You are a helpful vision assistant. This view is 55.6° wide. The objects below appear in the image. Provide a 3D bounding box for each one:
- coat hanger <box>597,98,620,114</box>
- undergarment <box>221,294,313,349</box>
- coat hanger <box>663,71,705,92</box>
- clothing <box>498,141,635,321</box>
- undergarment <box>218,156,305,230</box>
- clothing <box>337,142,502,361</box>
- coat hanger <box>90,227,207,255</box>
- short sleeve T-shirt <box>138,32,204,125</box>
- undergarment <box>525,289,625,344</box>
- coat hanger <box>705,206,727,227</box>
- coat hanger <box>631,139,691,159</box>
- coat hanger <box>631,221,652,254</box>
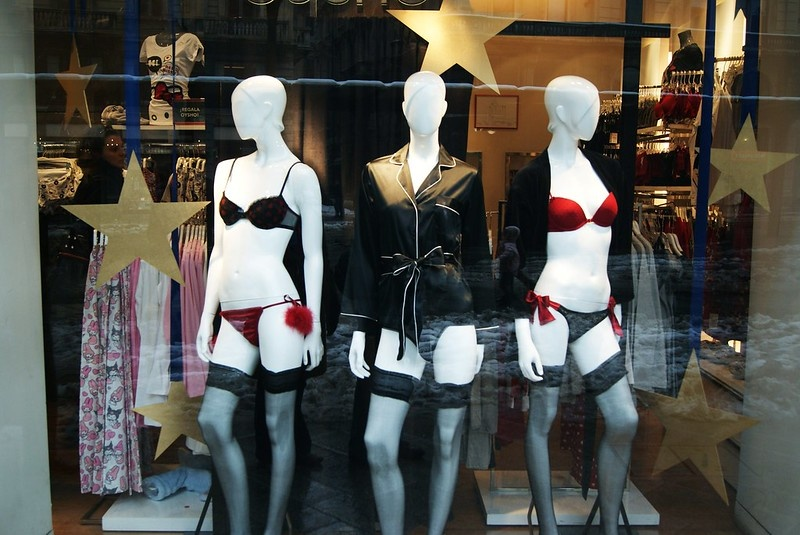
[{"bbox_3d":[1.066,-0.813,3.850,0.084,0.089,0.024,3,-5,-6],"label":"coat hanger"},{"bbox_3d":[-0.642,0.274,3.753,0.370,0.215,0.226,-1,-4,31],"label":"undergarment"},{"bbox_3d":[1.462,-0.952,3.922,0.161,0.125,0.076,2,15,-1],"label":"coat hanger"},{"bbox_3d":[0.892,-0.300,3.839,0.535,0.767,0.280,0,43,14],"label":"clothing"},{"bbox_3d":[-0.716,-0.375,3.823,0.398,0.369,0.236,6,3,25],"label":"undergarment"},{"bbox_3d":[0.115,-0.050,3.690,0.948,1.382,0.427,0,6,-2],"label":"clothing"},{"bbox_3d":[-1.292,-0.152,3.936,0.582,0.138,0.040,1,11,5],"label":"coat hanger"},{"bbox_3d":[-1.158,-0.981,3.878,0.375,0.498,0.186,4,12,9],"label":"short sleeve T-shirt"},{"bbox_3d":[0.857,0.228,3.775,0.323,0.266,0.211,-9,45,-8],"label":"undergarment"},{"bbox_3d":[1.682,-0.263,4.035,0.079,0.123,0.027,-2,0,-5],"label":"coat hanger"},{"bbox_3d":[1.366,-0.613,3.932,0.340,0.071,0.013,-5,12,-22],"label":"coat hanger"},{"bbox_3d":[1.240,-0.155,3.937,0.098,0.059,0.155,-17,42,-38],"label":"coat hanger"}]
